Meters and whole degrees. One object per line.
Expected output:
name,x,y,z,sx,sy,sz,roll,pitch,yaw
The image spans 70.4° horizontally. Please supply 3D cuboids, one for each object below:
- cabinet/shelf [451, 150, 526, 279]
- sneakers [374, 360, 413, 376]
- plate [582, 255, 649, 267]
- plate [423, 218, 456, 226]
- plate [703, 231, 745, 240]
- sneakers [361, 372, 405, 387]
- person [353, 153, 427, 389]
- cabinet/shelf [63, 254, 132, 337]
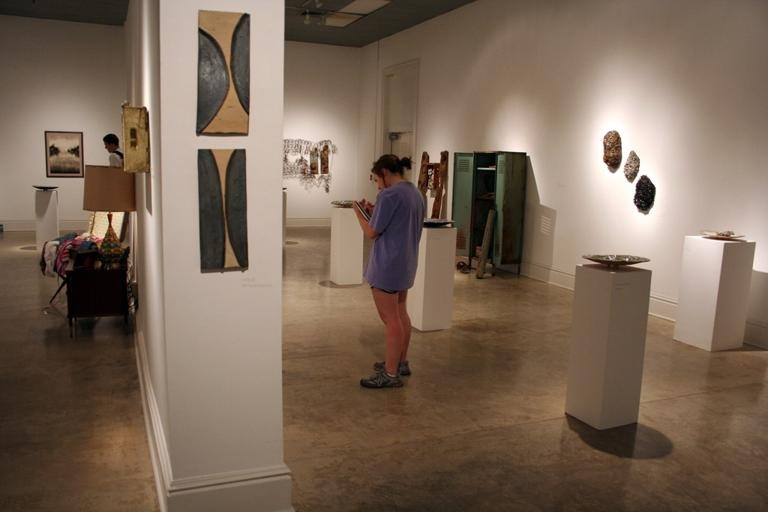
cabinet/shelf,1.991,-0.868,10.597,0.967,2.288,1.226,-3,9,-30
sneakers,0.074,1.144,5.689,0.418,0.184,0.156,2,7,-15
plate,2.008,0.042,4.796,0.539,0.106,0.241,0,8,-9
plate,0.687,-0.431,7.006,0.274,0.090,0.586,6,9,29
plate,4.244,-0.267,6.788,0.435,0.101,0.544,6,9,31
sneakers,-0.014,1.221,5.500,0.416,0.186,0.164,2,2,-8
person,0.055,0.150,5.413,0.621,2.274,0.451,1,7,-1
cabinet/shelf,-3.736,0.561,6.728,0.636,0.722,0.809,-11,-7,26
